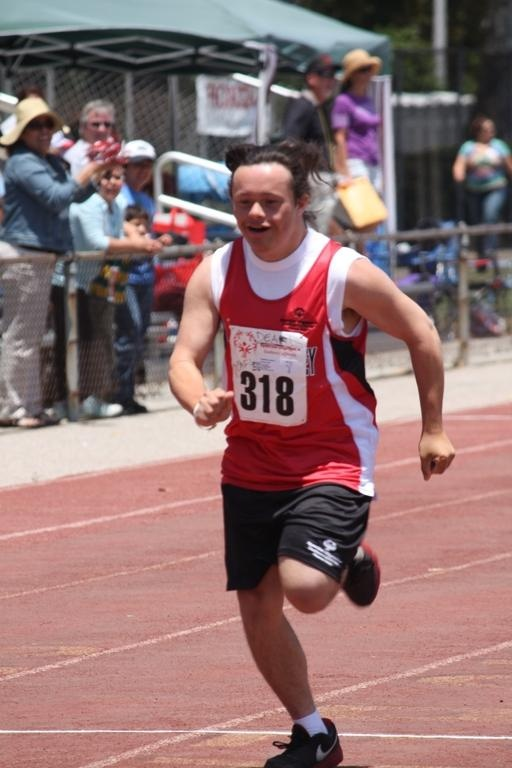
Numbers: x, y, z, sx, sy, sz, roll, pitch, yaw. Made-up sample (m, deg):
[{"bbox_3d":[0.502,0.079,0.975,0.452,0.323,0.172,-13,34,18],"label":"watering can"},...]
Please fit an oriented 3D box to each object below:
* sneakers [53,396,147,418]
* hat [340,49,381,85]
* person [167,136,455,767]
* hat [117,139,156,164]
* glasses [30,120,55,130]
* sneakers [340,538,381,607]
[{"bbox_3d":[-1.084,0.164,7.461,0.584,0.171,0.173,-5,6,-36],"label":"sneakers"},{"bbox_3d":[0.899,-2.651,8.851,0.324,0.251,0.318,-5,12,-34],"label":"hat"},{"bbox_3d":[0.120,0.170,2.430,0.658,1.435,0.395,1,7,1],"label":"person"},{"bbox_3d":[-0.820,-1.615,7.425,0.234,0.158,0.312,-1,1,-4],"label":"hat"},{"bbox_3d":[-1.356,-1.653,6.777,0.099,0.084,0.024,-3,51,-34],"label":"glasses"},{"bbox_3d":[0.284,0.493,2.797,0.100,0.110,0.182,0,7,7],"label":"sneakers"}]
